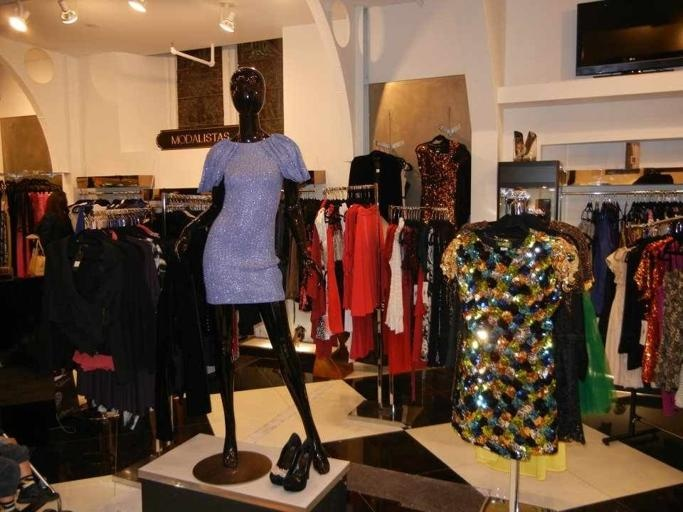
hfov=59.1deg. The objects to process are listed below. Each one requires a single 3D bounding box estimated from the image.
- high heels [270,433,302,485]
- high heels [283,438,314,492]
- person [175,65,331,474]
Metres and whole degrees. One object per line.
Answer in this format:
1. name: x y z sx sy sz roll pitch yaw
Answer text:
1. high heels: -0.340 1.243 3.645 0.117 0.389 0.137 8 -3 44
2. high heels: -0.247 1.256 3.645 0.094 0.129 0.324 -2 42 17
3. person: -0.541 0.069 3.760 0.848 2.473 0.425 1 8 10
